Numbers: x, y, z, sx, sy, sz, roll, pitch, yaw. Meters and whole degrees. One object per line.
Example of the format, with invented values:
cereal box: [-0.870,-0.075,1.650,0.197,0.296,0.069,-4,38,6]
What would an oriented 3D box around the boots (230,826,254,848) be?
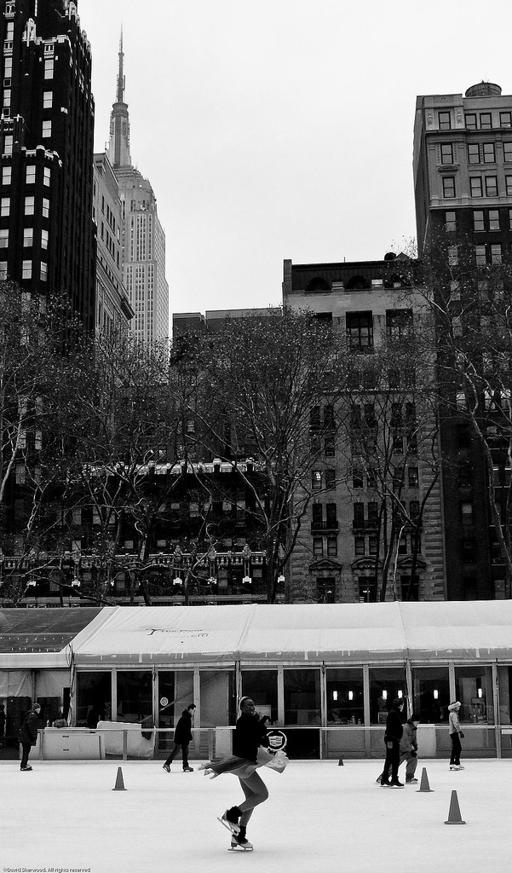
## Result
boots: [-0.171,4.367,14.370,0.236,0.221,0.397,1,-12,-3]

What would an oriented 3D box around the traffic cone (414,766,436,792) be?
traffic cone: [2.667,5.509,21.328,0.270,0.555,0.355,-3,-10,11]

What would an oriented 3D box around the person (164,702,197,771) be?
person: [-1.684,6.621,29.102,0.581,1.439,1.768,1,-11,-3]

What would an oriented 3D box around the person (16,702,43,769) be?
person: [-4.873,6.470,28.557,0.380,1.424,1.462,2,-11,-9]

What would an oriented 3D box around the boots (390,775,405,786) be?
boots: [2.349,5.864,22.500,0.211,0.151,0.491,0,-13,3]

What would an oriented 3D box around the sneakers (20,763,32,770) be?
sneakers: [-4.847,7.037,28.157,0.256,0.168,0.136,0,-3,-7]

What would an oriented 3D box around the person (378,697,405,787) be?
person: [2.277,5.270,22.858,0.415,1.472,1.369,0,-11,5]

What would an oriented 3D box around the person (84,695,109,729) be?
person: [-4.037,7.014,33.763,0.616,0.730,0.320,0,-9,3]

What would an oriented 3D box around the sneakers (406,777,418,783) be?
sneakers: [2.734,6.121,23.562,0.215,0.137,0.103,-1,-3,-15]
